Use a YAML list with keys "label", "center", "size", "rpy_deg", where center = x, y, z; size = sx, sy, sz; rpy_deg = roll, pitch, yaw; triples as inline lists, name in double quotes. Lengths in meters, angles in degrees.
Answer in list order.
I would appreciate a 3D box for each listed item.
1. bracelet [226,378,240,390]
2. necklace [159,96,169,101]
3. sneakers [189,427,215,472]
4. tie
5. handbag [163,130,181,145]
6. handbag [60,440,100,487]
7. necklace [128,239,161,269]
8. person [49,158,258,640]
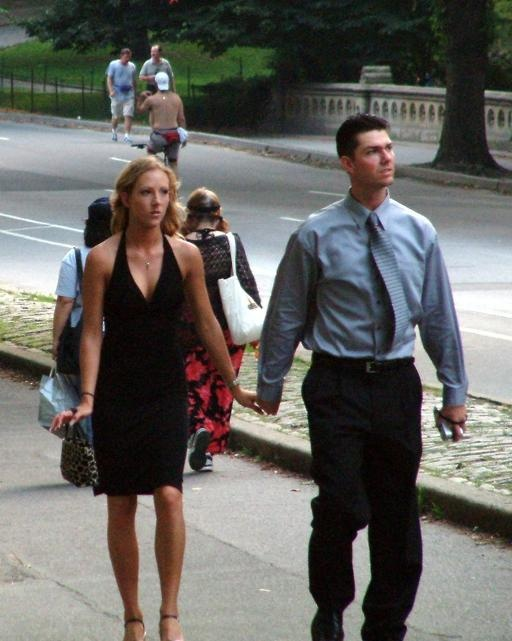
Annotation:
- label: "bracelet"
  center: [-0.084, 0.252, 4.126]
  size: [0.050, 0.029, 0.050]
  rpy_deg: [-25, -8, -5]
- label: "necklace"
  center: [-1.597, -3.854, 18.471]
  size: [0.158, 0.078, 0.034]
  rpy_deg: [-1, 2, -3]
- label: "sneakers"
  center: [-0.318, 0.743, 6.085]
  size: [0.119, 0.255, 0.121]
  rpy_deg: [-2, 20, -16]
- label: "tie"
  center: [0.448, -0.124, 3.546]
  size: [0.177, 0.458, 0.146]
  rpy_deg: [3, 10, 5]
- label: "handbag"
  center: [-1.485, -3.259, 18.943]
  size: [0.327, 0.242, 0.227]
  rpy_deg: [-3, 42, -1]
- label: "handbag"
  center: [-0.610, 0.490, 3.697]
  size: [0.074, 0.150, 0.161]
  rpy_deg: [-3, 11, -29]
- label: "necklace"
  center: [-0.389, -0.235, 3.786]
  size: [0.132, 0.077, 0.034]
  rpy_deg: [-3, -14, -22]
- label: "person"
  center: [-0.382, 0.245, 3.768]
  size: [0.637, 1.625, 0.784]
  rpy_deg: [3, 10, 3]
